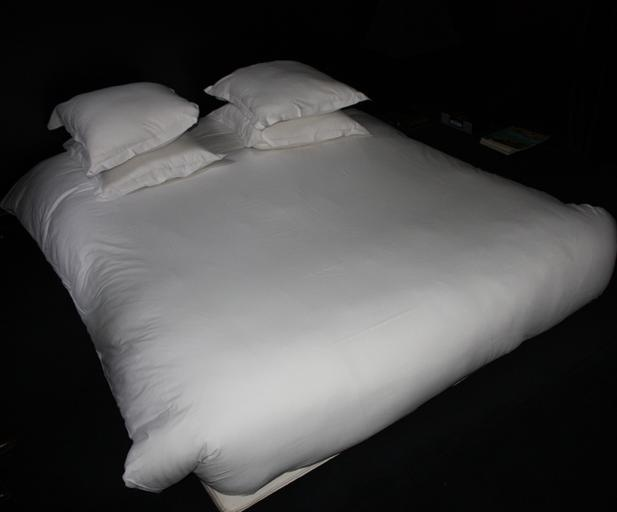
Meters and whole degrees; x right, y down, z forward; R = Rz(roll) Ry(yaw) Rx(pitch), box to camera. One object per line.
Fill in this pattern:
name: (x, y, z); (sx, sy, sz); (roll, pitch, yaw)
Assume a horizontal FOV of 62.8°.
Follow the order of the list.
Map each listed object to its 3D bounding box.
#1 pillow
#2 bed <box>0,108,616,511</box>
pillow: (-0.507, -0.790, 2.625); (1.259, 0.231, 0.815); (-20, 36, -15)
bed: (0.081, 0.067, 1.903); (1.492, 0.398, 1.613); (-23, 41, -22)
